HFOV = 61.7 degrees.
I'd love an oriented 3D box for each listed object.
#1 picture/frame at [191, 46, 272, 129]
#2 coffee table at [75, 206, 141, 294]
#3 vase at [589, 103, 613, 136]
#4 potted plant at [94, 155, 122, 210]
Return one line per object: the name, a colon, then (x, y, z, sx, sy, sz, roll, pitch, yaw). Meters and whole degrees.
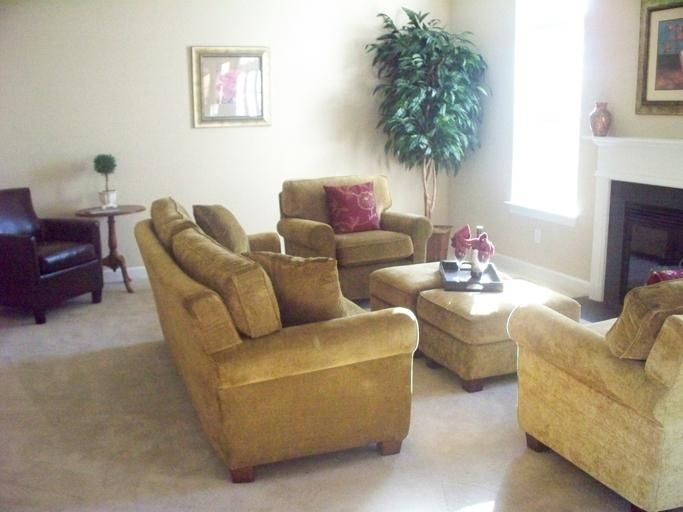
picture/frame: (-1.143, -1.736, 5.798, 0.806, 0.808, 0.064, -2, 9, -22)
coffee table: (-2.196, -0.081, 5.354, 0.550, 0.699, 0.585, 8, 25, 10)
vase: (2.116, -1.116, 4.671, 0.170, 0.274, 0.155, 3, 17, 23)
potted plant: (-2.215, -0.721, 5.449, 0.221, 0.489, 0.455, -10, 17, -21)
